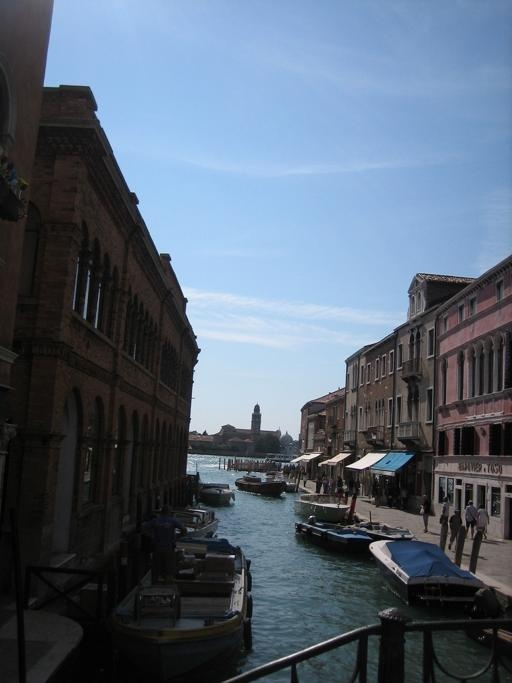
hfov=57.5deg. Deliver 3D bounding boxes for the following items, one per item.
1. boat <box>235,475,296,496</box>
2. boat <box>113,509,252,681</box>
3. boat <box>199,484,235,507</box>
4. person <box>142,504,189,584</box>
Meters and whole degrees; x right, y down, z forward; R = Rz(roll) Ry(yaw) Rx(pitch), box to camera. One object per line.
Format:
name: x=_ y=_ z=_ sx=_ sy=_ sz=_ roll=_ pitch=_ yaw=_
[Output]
boat: x=0.722 y=18.966 z=61.293 sx=4.274 sy=1.980 sz=9.092 roll=5 pitch=-14 yaw=-18
boat: x=-1.376 y=5.308 z=9.979 sx=2.276 sy=2.873 sz=5.226 roll=1 pitch=-13 yaw=2
boat: x=-4.077 y=15.254 z=46.231 sx=3.412 sy=1.680 sz=5.543 roll=3 pitch=-13 yaw=-7
person: x=-2.121 y=4.565 z=10.863 sx=0.795 sy=2.190 sz=0.639 roll=6 pitch=23 yaw=-5
